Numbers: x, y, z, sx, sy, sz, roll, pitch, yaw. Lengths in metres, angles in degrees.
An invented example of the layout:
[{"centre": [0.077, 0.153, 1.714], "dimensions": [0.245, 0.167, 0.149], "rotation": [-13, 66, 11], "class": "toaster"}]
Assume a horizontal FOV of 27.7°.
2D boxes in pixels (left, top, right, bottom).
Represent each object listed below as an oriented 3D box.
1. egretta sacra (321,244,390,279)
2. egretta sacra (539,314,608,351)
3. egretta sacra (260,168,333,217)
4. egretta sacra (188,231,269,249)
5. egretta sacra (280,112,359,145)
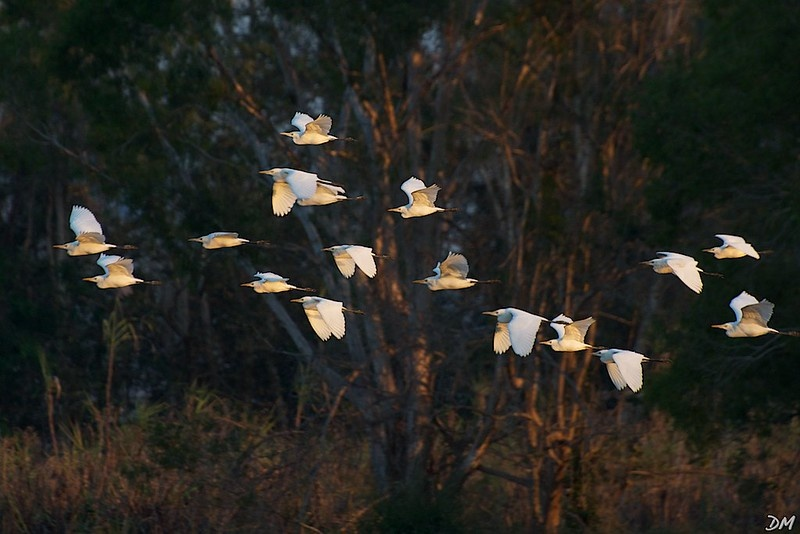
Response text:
[{"centre": [-0.712, -0.048, 26.241], "dimensions": [0.518, 0.557, 1.087], "rotation": [-9, 14, -25], "class": "egretta sacra"}, {"centre": [2.727, 1.092, 26.117], "dimensions": [0.678, 0.297, 0.794], "rotation": [-17, 1, 1], "class": "egretta sacra"}, {"centre": [-1.749, -1.268, 26.082], "dimensions": [0.918, 0.356, 0.715], "rotation": [-22, 0, 12], "class": "egretta sacra"}, {"centre": [-2.893, -0.442, 27.158], "dimensions": [1.222, 0.186, 0.562], "rotation": [-4, -4, -6], "class": "egretta sacra"}, {"centre": [-1.427, -2.279, 26.896], "dimensions": [0.748, 0.308, 0.780], "rotation": [-16, 6, -11], "class": "egretta sacra"}]
